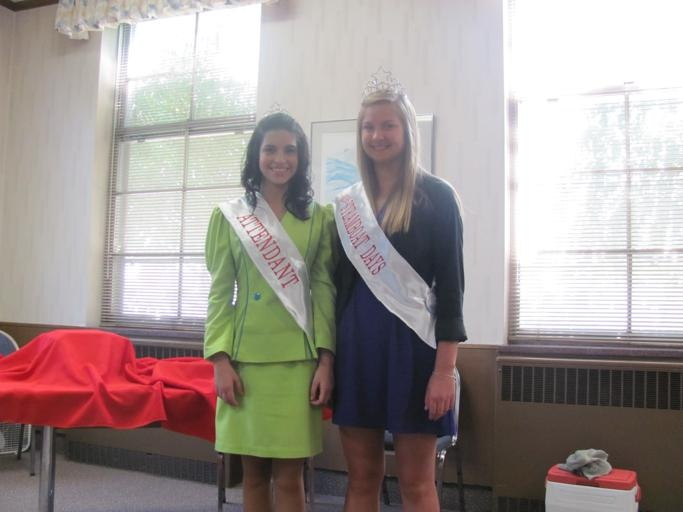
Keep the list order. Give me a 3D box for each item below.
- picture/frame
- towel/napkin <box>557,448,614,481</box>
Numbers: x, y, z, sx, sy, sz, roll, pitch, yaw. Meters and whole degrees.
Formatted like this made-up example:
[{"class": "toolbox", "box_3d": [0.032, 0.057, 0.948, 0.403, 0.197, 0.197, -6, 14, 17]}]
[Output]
[{"class": "picture/frame", "box_3d": [0.159, -0.471, 3.043, 0.631, 0.712, 0.025, -1, -7, 9]}, {"class": "towel/napkin", "box_3d": [1.218, 1.015, 3.106, 0.158, 0.067, 0.140, -6, 2, 44]}]
